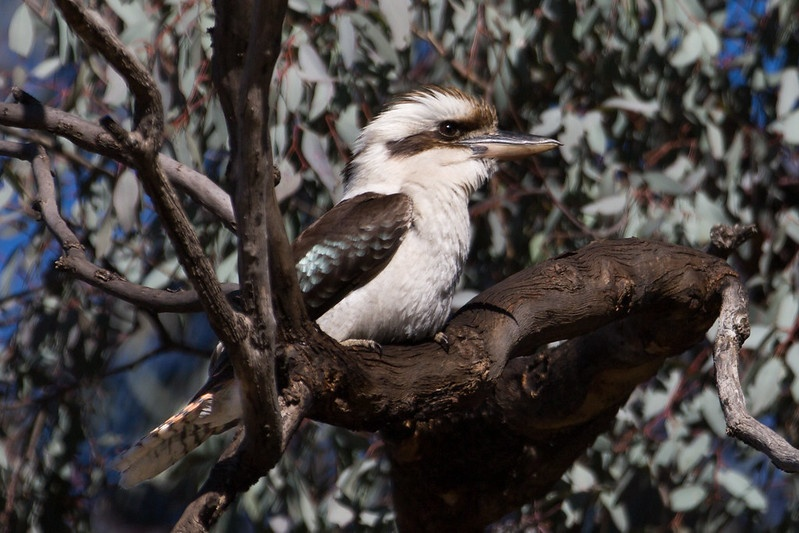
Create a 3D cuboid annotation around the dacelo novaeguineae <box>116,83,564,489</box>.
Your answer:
[{"bbox_3d":[-0.122,-0.154,5.745,1.611,1.327,0.798,8,15,41],"label":"dacelo novaeguineae"}]
